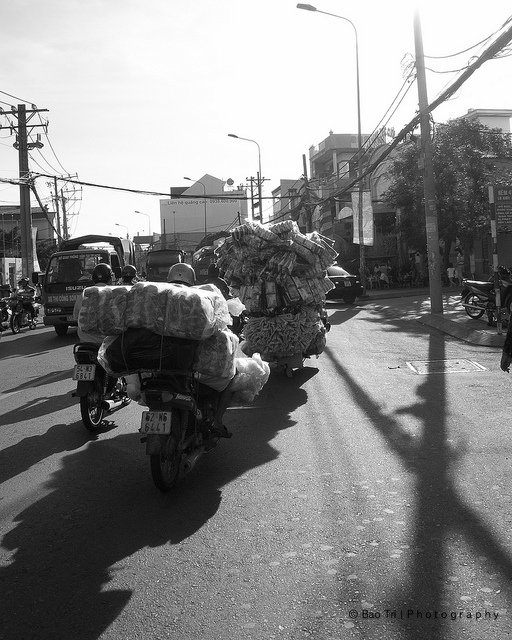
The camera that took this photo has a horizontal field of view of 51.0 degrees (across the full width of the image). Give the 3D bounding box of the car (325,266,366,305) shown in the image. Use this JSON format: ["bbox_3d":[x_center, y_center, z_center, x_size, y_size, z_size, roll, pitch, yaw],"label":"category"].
[{"bbox_3d":[3.656,-1.383,22.167,1.429,1.323,3.532,-1,5,6],"label":"car"}]

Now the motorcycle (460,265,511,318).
[{"bbox_3d":[5.849,-0.671,13.575,0.850,0.913,2.089,-2,0,6],"label":"motorcycle"}]

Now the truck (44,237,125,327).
[{"bbox_3d":[-5.375,-0.866,18.670,1.729,3.330,5.509,0,-6,2],"label":"truck"}]

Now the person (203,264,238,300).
[{"bbox_3d":[-0.663,-0.689,9.530,0.622,0.800,0.770,-4,6,-2],"label":"person"}]

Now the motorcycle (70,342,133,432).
[{"bbox_3d":[-1.653,0.689,5.717,0.425,0.929,1.133,-2,0,-5],"label":"motorcycle"}]

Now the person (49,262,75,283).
[{"bbox_3d":[-5.791,-1.403,16.112,0.637,0.643,0.952,-2,0,-13],"label":"person"}]

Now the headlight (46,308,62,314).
[{"bbox_3d":[-5.749,-0.249,15.328,0.447,0.163,0.055,-3,0,9],"label":"headlight"}]

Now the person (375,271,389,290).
[{"bbox_3d":[7.580,-2.272,32.230,0.750,1.355,0.814,0,8,15],"label":"person"}]
